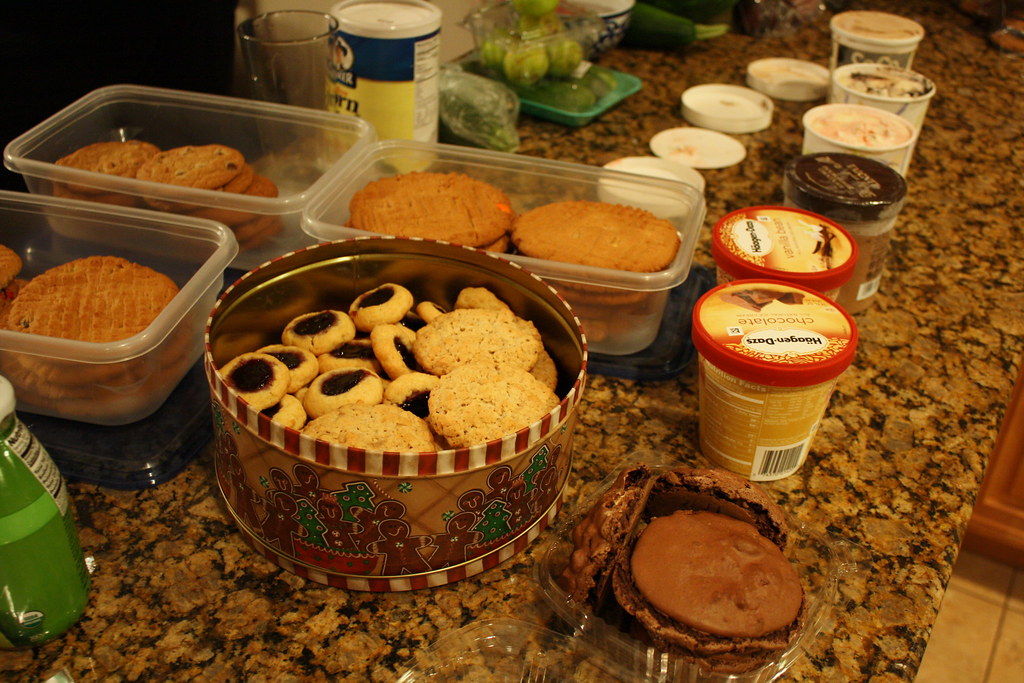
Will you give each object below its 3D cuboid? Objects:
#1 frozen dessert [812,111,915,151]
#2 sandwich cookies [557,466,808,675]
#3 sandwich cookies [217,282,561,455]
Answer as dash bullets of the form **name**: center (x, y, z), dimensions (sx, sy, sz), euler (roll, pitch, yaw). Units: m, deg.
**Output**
- **frozen dessert**: center (0.613, -0.378, 1.607), dimensions (0.133, 0.042, 0.129), euler (9, 35, 12)
- **sandwich cookies**: center (0.217, 0.268, 1.099), dimensions (0.283, 0.118, 0.239), euler (26, 48, 24)
- **sandwich cookies**: center (-0.192, 0.007, 1.228), dimensions (0.321, 0.175, 0.470), euler (16, 30, 39)
